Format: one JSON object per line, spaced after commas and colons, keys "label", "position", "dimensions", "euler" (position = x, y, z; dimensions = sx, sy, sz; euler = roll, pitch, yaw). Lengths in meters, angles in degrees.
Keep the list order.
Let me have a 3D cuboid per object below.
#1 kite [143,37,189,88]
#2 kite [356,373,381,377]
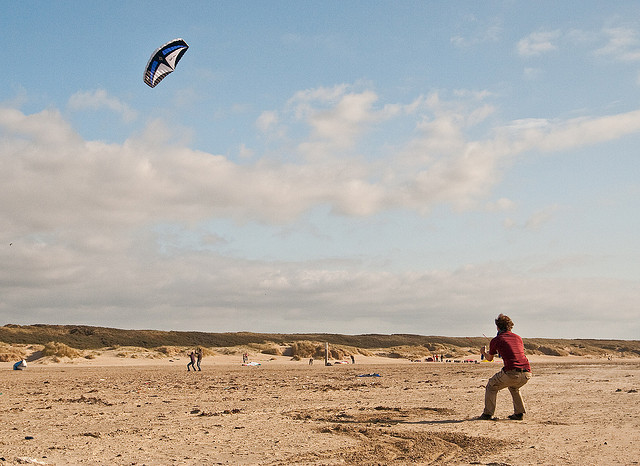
{"label": "kite", "position": [-7.744, -8.385, 30.782], "dimensions": [1.669, 2.116, 1.799], "euler": [6, -9, -18]}
{"label": "kite", "position": [2.601, 7.826, 34.271], "dimensions": [1.284, 0.118, 2.237], "euler": [2, -8, 1]}
